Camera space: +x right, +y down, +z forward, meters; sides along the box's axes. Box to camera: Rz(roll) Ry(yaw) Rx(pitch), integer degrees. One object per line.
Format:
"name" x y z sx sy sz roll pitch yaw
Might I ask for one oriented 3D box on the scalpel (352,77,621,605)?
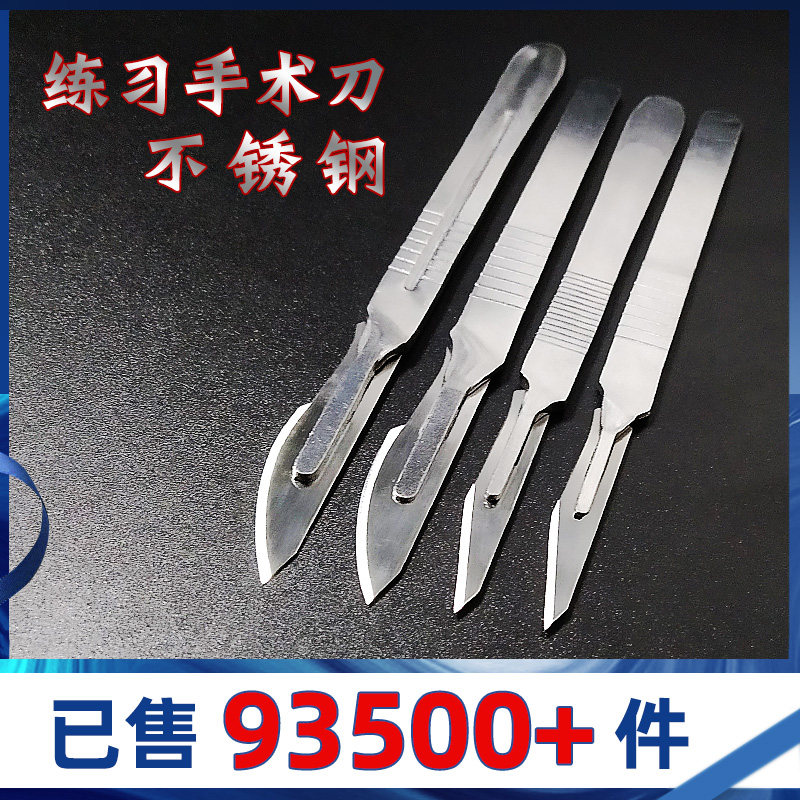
"scalpel" 0.093 -0.088 0.893 0.079 0.546 0.346 17 15 22
